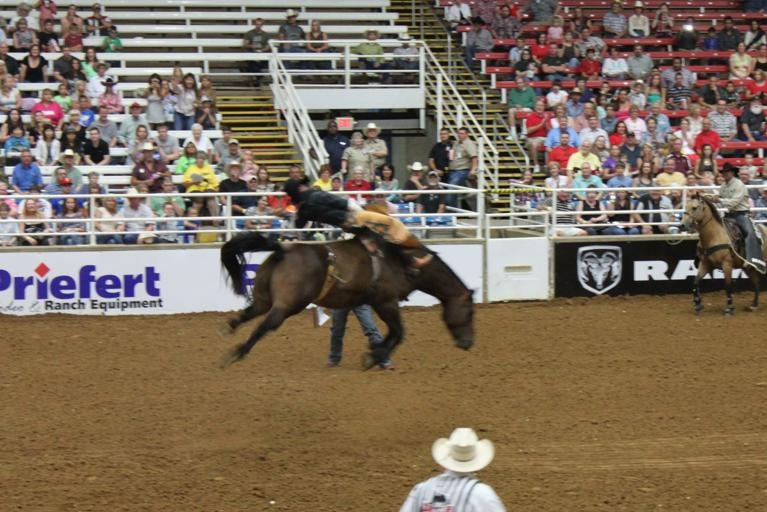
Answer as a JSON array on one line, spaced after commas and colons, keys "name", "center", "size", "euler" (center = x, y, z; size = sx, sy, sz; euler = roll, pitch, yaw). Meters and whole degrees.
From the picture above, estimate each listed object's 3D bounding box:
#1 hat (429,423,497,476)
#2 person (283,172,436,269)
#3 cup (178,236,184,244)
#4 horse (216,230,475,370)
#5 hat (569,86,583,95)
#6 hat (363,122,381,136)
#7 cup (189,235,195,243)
[{"name": "hat", "center": [1.192, 2.874, 21.049], "size": [1.187, 0.329, 0.987], "euler": [1, 32, 3]}, {"name": "person", "center": [-0.420, -0.574, 25.404], "size": [3.525, 0.580, 1.481], "euler": [12, -18, -8]}, {"name": "cup", "center": [-3.982, -0.326, 28.309], "size": [0.143, 0.163, 0.105], "euler": [-3, 3, -16]}, {"name": "horse", "center": [-0.604, 0.754, 23.750], "size": [5.280, 2.019, 1.263], "euler": [6, -4, -38]}, {"name": "hat", "center": [4.566, -3.860, 33.408], "size": [0.342, 0.061, 0.271], "euler": [3, -11, -2]}, {"name": "hat", "center": [-0.227, -2.718, 31.275], "size": [0.570, 0.379, 0.137], "euler": [3, 15, 5]}, {"name": "cup", "center": [-3.786, -0.327, 28.364], "size": [0.181, 0.161, 0.168], "euler": [-2, 2, 0]}]
